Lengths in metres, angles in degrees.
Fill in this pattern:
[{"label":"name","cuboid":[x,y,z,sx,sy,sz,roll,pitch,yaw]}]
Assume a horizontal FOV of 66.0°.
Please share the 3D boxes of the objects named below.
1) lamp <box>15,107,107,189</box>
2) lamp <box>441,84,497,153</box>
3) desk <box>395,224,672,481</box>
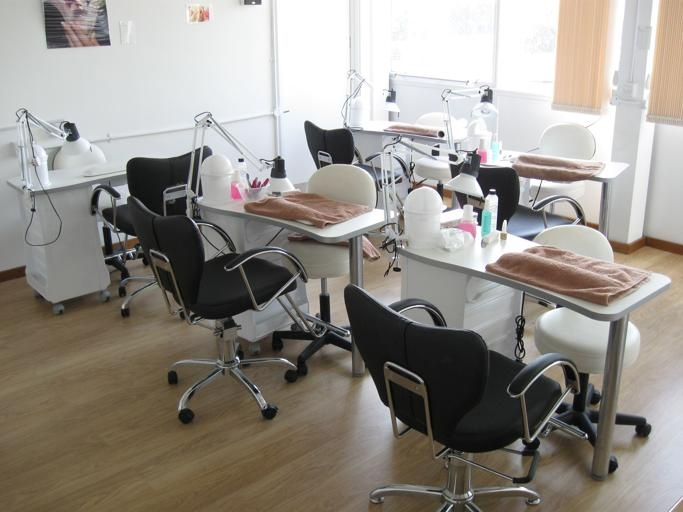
[{"label":"lamp","cuboid":[-2.163,-0.805,3.999,0.322,0.609,0.589,33,41,24]},{"label":"lamp","cuboid":[1.045,-1.143,4.380,0.418,0.518,0.267,3,-13,20]},{"label":"desk","cuboid":[0.790,0.483,2.404,0.998,0.801,0.585,9,-9,9]}]
